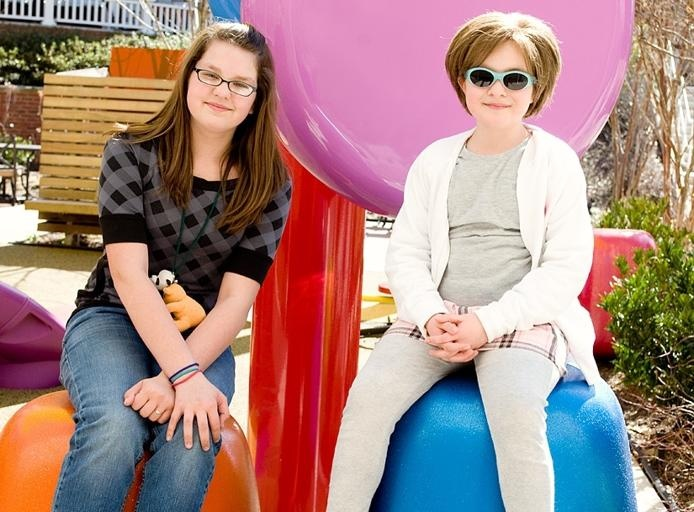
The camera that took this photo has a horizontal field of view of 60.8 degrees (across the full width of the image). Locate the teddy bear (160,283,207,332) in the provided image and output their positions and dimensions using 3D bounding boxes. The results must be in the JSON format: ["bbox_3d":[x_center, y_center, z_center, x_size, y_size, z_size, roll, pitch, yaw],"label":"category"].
[{"bbox_3d":[-0.475,0.132,1.706,0.107,0.165,0.135,4,26,-1],"label":"teddy bear"}]

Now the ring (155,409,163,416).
[{"bbox_3d":[-0.467,0.379,1.437,0.012,0.014,0.003,5,-4,1],"label":"ring"}]
